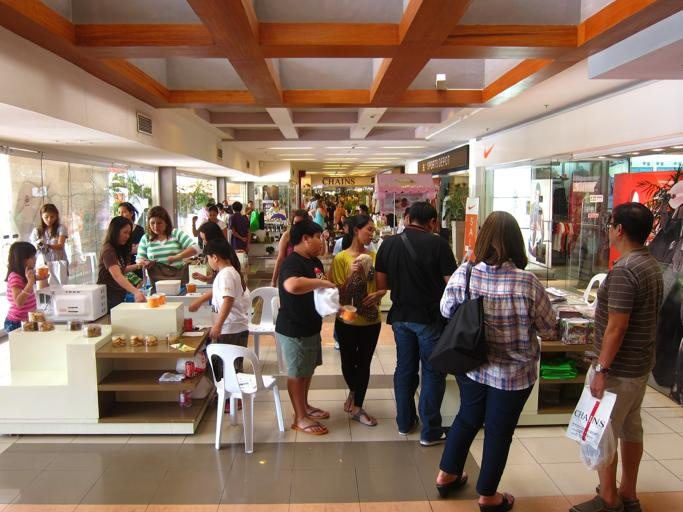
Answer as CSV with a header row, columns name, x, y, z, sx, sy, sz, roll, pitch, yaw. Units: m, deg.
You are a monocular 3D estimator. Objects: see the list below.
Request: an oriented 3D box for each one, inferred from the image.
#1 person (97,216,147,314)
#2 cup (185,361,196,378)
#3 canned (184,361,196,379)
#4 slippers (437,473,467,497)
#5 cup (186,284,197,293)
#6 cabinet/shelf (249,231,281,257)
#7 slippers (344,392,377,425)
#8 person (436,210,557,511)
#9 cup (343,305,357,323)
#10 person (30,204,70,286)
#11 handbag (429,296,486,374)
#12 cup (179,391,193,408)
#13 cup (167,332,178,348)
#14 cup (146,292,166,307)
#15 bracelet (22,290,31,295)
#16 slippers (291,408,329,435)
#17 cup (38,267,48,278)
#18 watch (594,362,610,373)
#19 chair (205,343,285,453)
name,x,y,z,sx,sy,sz,roll,pitch,yaw
person,-2.538,0.113,5.365,0.412,1.088,0.969,-6,14,-27
cup,-1.410,1.047,4.476,0.088,0.122,0.121,2,12,0
canned,-1.403,1.061,4.416,0.087,0.127,0.126,2,13,-1
slippers,0.844,1.731,3.667,0.107,0.109,0.266,-4,10,45
cup,-1.695,0.363,5.359,0.076,0.058,0.077,2,8,0
cabinet/shelf,-1.910,-0.289,11.597,0.567,0.543,0.295,1,-22,-6
slippers,0.160,1.470,4.620,0.142,0.168,0.420,-15,19,-34
person,1.059,0.687,3.301,0.742,1.947,0.348,3,13,12
cup,0.063,0.514,4.205,0.105,0.098,0.135,0,4,-2
person,-4.003,-0.126,6.535,0.416,1.161,0.497,-9,15,-35
handbag,0.806,0.541,3.292,0.302,0.531,0.529,20,-13,1
cup,-1.472,1.340,4.470,0.125,0.147,0.127,0,-8,0
cup,-1.551,0.760,4.358,0.089,0.104,0.091,1,-3,0
cup,-1.771,0.419,4.572,0.135,0.087,0.138,0,0,0
bracelet,-3.350,0.386,5.045,0.047,0.036,0.048,1,2,-3
slippers,-0.307,1.525,4.430,0.334,0.231,0.147,-1,2,12
cup,-2.981,0.163,4.801,0.096,0.111,0.098,-1,-2,0
watch,1.733,0.752,3.200,0.082,0.058,0.089,14,2,-19
chair,-0.860,1.195,4.245,0.579,0.901,0.592,-1,2,13
